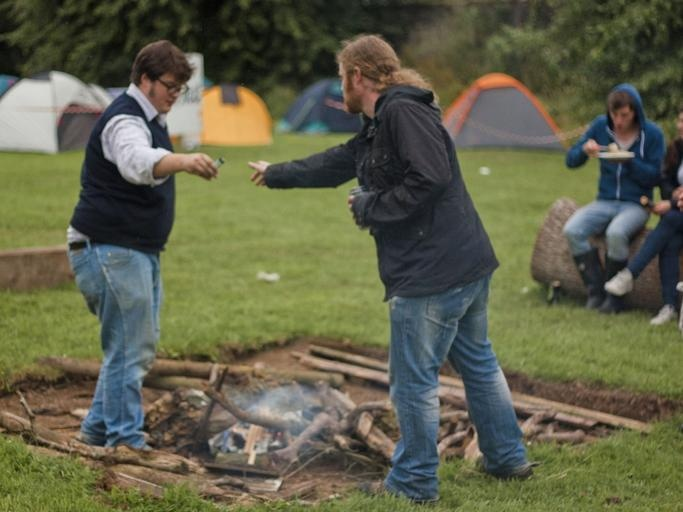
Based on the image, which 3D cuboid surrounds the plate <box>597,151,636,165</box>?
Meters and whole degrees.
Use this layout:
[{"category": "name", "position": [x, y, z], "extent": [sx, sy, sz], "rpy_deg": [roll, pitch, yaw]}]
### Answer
[{"category": "plate", "position": [2.947, -1.058, 18.524], "extent": [0.383, 0.118, 0.369], "rpy_deg": [5, 7, 9]}]

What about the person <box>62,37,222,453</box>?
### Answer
[{"category": "person", "position": [-2.049, -0.098, 16.587], "extent": [1.054, 3.860, 0.566], "rpy_deg": [4, 7, -6]}]

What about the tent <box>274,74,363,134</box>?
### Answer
[{"category": "tent", "position": [-0.364, -2.594, 31.457], "extent": [1.764, 0.784, 1.863], "rpy_deg": [1, 9, 6]}]

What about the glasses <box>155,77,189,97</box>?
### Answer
[{"category": "glasses", "position": [-1.647, -1.597, 16.666], "extent": [0.180, 0.056, 0.185], "rpy_deg": [40, 30, 25]}]
